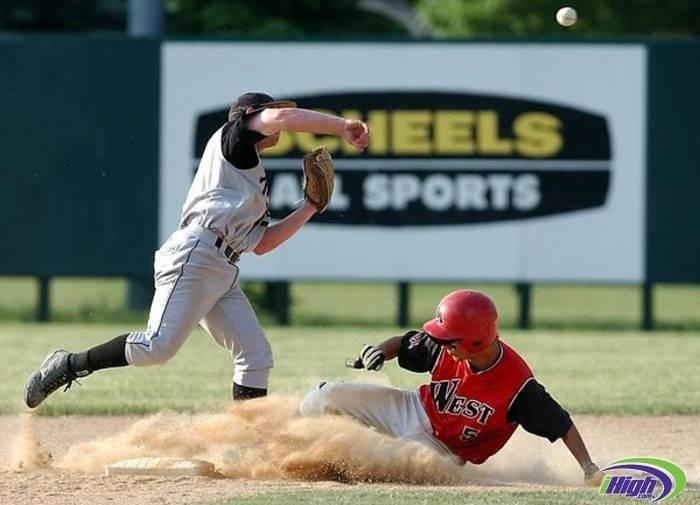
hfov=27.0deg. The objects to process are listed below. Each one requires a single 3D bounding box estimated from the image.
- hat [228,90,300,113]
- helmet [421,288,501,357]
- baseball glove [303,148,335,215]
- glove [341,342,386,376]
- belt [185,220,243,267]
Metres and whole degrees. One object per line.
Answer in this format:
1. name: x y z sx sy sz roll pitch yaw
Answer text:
1. hat: -0.676 -1.152 10.974 0.349 0.132 0.239 -6 -1 3
2. helmet: 0.847 0.471 10.830 0.617 0.364 0.430 -4 20 -4
3. baseball glove: -0.217 -0.581 11.275 0.296 0.435 0.138 -6 5 -40
4. glove: 0.130 0.815 10.849 0.219 0.120 0.223 20 -19 29
5. belt: -1.003 -0.028 10.909 0.291 0.090 0.376 31 -11 40
